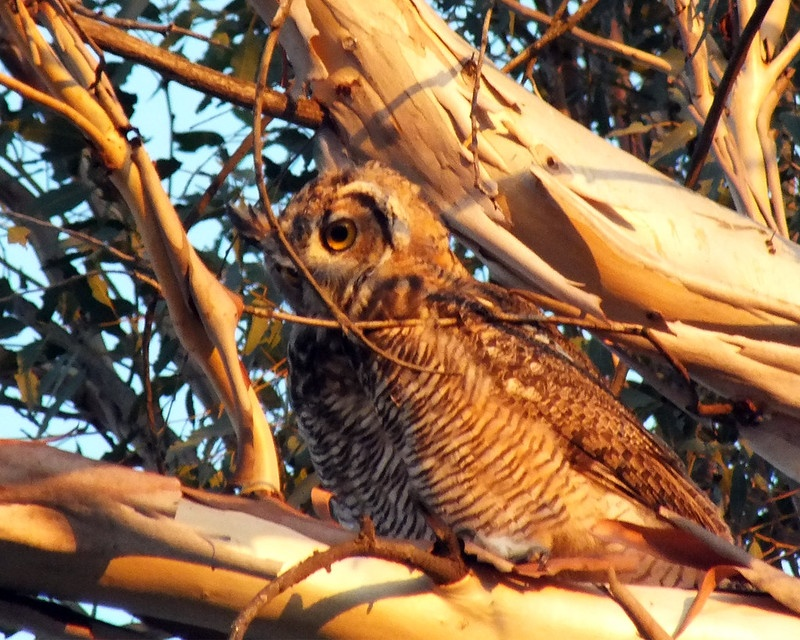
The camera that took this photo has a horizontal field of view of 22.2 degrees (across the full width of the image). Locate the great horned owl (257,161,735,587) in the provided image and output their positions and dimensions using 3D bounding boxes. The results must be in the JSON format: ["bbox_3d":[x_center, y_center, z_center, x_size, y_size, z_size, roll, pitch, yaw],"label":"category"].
[{"bbox_3d":[0.124,0.102,5.032,0.601,1.088,1.234,-11,-5,39],"label":"great horned owl"}]
